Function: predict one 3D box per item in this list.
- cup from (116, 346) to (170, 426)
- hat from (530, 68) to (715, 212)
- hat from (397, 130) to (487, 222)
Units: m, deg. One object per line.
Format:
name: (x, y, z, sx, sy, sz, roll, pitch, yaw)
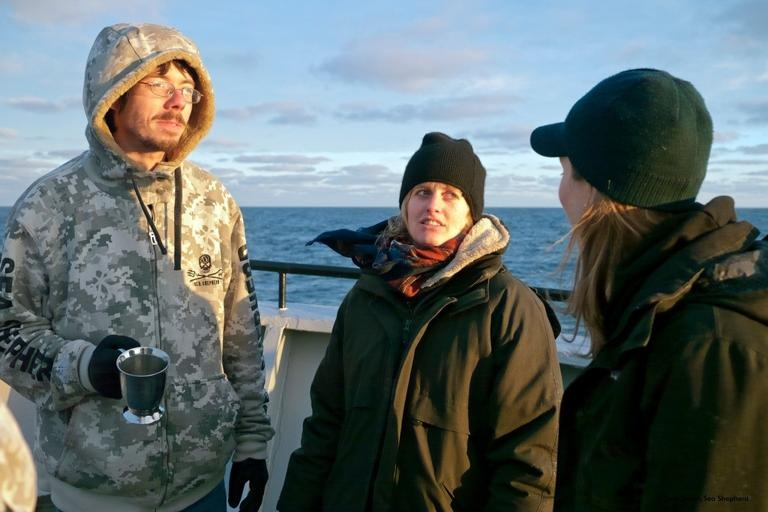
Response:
cup: (-1.059, 0.572, 3.942, 0.214, 0.346, 0.192, 2, 5, -17)
hat: (1.020, -0.445, 3.597, 0.462, 0.393, 0.625, -14, 33, -36)
hat: (0.301, -0.422, 4.610, 0.403, 0.424, 0.448, 6, -7, 20)
